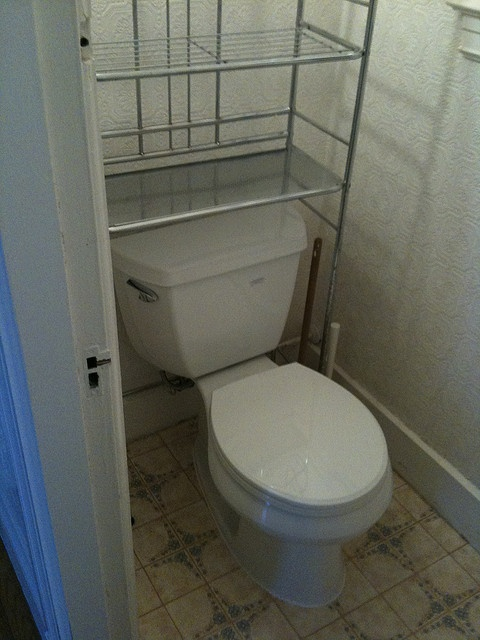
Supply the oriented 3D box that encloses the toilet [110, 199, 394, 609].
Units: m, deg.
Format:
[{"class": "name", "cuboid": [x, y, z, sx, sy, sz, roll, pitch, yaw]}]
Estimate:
[{"class": "toilet", "cuboid": [0.072, 0.228, 1.296, 0.452, 0.786, 0.755, -19, 39, -28]}]
